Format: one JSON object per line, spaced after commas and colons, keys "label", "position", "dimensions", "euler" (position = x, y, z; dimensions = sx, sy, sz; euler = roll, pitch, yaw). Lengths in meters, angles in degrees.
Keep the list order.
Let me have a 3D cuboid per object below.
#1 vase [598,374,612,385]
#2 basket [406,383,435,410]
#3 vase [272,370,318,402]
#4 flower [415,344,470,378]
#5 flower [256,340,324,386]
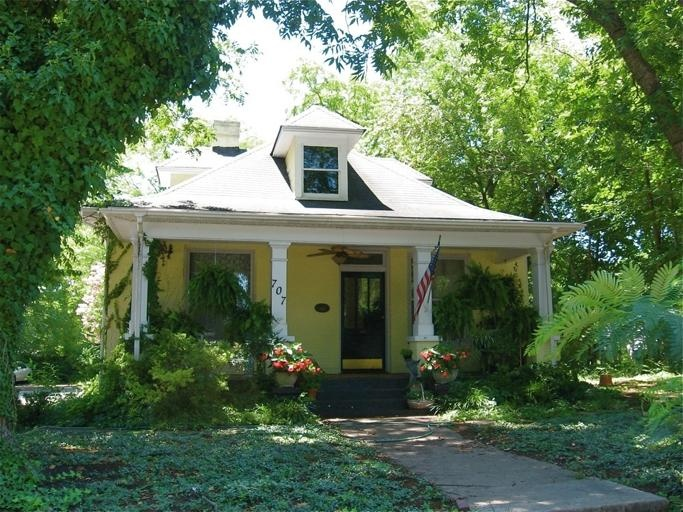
{"label": "vase", "position": [6.395, 2.987, 16.599], "dimensions": [0.247, 0.297, 0.668], "euler": [1, 1, 20]}
{"label": "basket", "position": [1.593, 2.875, 13.891], "dimensions": [0.495, 0.450, 0.480], "euler": [3, -16, -7]}
{"label": "vase", "position": [-0.887, 2.486, 13.160], "dimensions": [0.827, 0.358, 0.535], "euler": [1, -7, -4]}
{"label": "flower", "position": [1.969, 2.117, 14.077], "dimensions": [0.740, 0.470, 0.689], "euler": [0, -3, -19]}
{"label": "flower", "position": [-1.016, 2.100, 13.160], "dimensions": [0.979, 0.653, 0.948], "euler": [4, -9, -13]}
